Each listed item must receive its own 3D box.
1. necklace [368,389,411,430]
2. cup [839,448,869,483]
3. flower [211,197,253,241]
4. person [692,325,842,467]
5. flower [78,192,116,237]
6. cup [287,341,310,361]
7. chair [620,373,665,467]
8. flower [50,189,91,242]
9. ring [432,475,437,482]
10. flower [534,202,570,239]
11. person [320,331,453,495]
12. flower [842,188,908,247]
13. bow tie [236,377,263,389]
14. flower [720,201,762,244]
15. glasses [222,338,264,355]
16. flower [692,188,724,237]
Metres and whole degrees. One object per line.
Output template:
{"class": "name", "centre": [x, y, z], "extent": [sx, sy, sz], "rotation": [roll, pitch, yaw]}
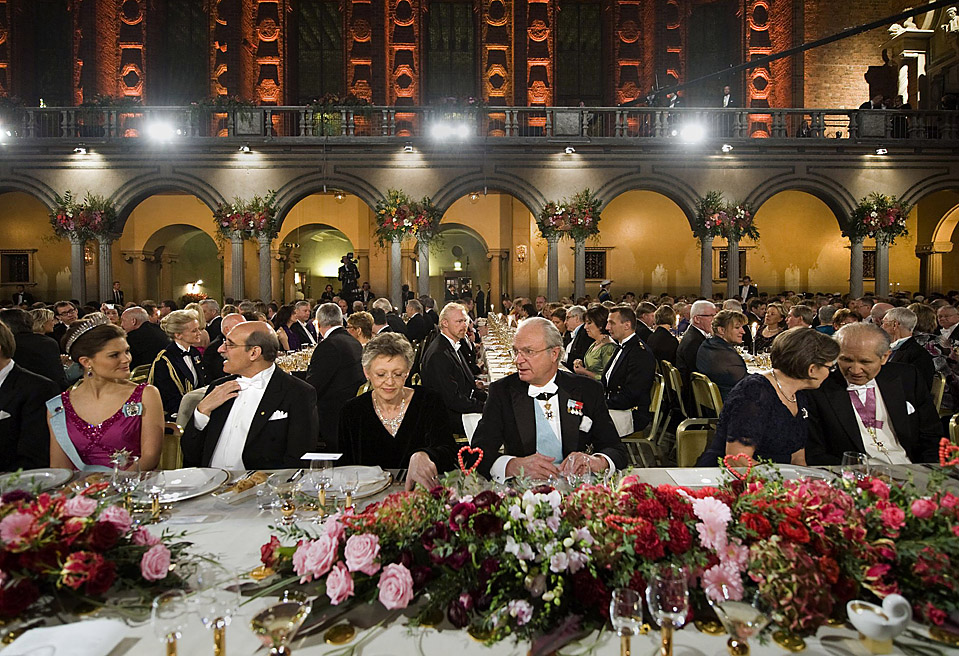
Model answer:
{"class": "necklace", "centre": [-0.684, 0.652, 6.199], "extent": [0.169, 0.315, 0.058], "rotation": [-1, -11, -3]}
{"class": "cup", "centre": [2.461, 0.905, 5.132], "extent": [0.186, 0.200, 0.187], "rotation": [0, -6, 0]}
{"class": "flower", "centre": [-5.727, -2.627, 18.411], "extent": [0.673, 0.969, 1.211], "rotation": [-3, 3, -43]}
{"class": "person", "centre": [2.443, 0.602, 6.668], "extent": [0.847, 2.097, 0.765], "rotation": [10, 16, 36]}
{"class": "flower", "centre": [-8.908, -2.700, 18.603], "extent": [0.937, 1.070, 0.923], "rotation": [-4, 8, -24]}
{"class": "cup", "centre": [-2.905, 0.354, 12.464], "extent": [0.387, 0.419, 0.235], "rotation": [1, 3, -1]}
{"class": "chair", "centre": [2.002, 1.079, 9.364], "extent": [0.477, 1.100, 1.546], "rotation": [-1, 2, 13]}
{"class": "flower", "centre": [-9.590, -2.605, 18.379], "extent": [1.066, 1.152, 1.253], "rotation": [3, 2, -25]}
{"class": "ring", "centre": [-0.298, 1.026, 5.345], "extent": [0.031, 0.012, 0.043], "rotation": [-30, 22, 14]}
{"class": "flower", "centre": [1.770, -2.574, 18.412], "extent": [0.719, 0.809, 0.364], "rotation": [3, 0, 14]}
{"class": "person", "centre": [-0.632, 0.739, 6.130], "extent": [0.778, 1.267, 1.131], "rotation": [-6, 9, -34]}
{"class": "flower", "centre": [9.519, -2.672, 18.672], "extent": [1.237, 1.234, 0.647], "rotation": [-1, 3, 18]}
{"class": "bow tie", "centre": [-1.866, 0.452, 6.367], "extent": [0.168, 0.101, 0.032], "rotation": [-2, 3, -16]}
{"class": "flower", "centre": [6.157, -2.516, 18.720], "extent": [0.911, 1.052, 0.979], "rotation": [-5, 7, -23]}
{"class": "glasses", "centre": [-1.935, 0.122, 6.335], "extent": [0.314, 0.169, 0.128], "rotation": [-2, 2, -21]}
{"class": "flower", "centre": [5.596, -2.753, 18.807], "extent": [0.540, 1.147, 0.889], "rotation": [-2, 2, -17]}
